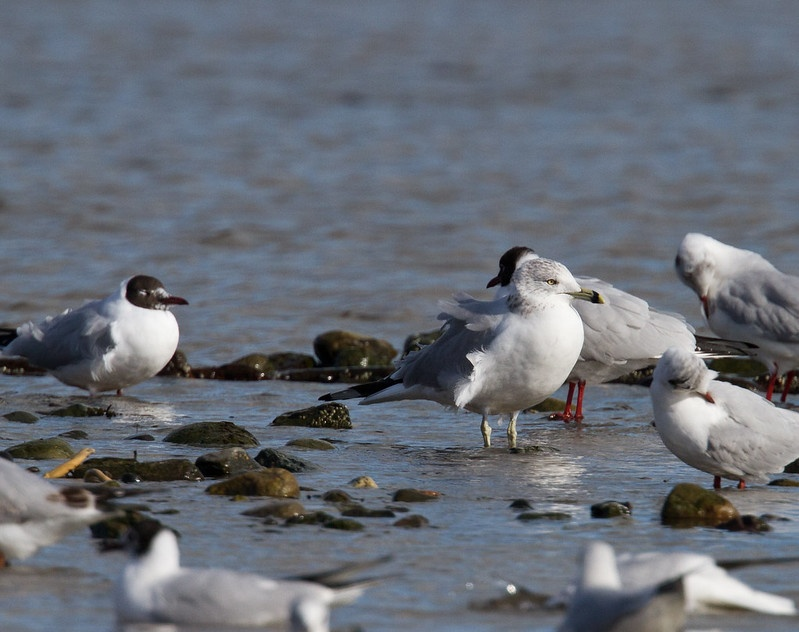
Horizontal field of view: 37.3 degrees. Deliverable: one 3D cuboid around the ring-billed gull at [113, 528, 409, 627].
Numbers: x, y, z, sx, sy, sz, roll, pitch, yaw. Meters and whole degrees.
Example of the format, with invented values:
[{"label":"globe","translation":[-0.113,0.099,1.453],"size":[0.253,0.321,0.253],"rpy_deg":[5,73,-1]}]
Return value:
[{"label":"ring-billed gull","translation":[-0.979,1.667,7.385],"size":[2.088,0.580,0.575],"rpy_deg":[-1,-10,5]}]
